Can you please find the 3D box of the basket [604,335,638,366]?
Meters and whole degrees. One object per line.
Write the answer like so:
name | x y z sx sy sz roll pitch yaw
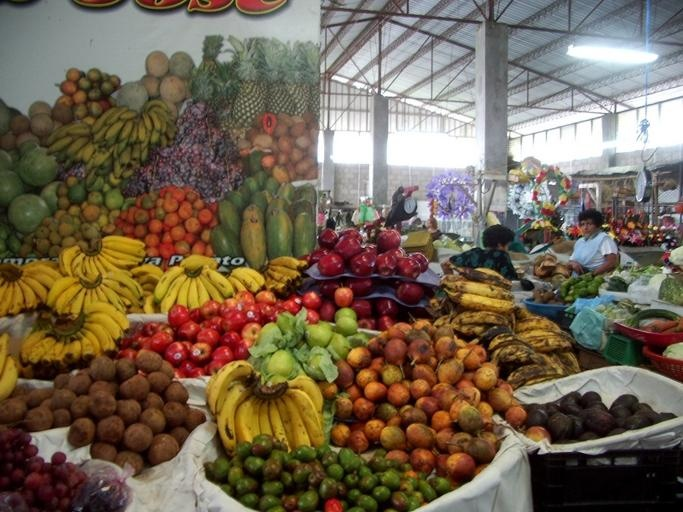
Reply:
basket | 2.086 0.713 3.944 0.234 0.204 0.241 -3 7 -21
